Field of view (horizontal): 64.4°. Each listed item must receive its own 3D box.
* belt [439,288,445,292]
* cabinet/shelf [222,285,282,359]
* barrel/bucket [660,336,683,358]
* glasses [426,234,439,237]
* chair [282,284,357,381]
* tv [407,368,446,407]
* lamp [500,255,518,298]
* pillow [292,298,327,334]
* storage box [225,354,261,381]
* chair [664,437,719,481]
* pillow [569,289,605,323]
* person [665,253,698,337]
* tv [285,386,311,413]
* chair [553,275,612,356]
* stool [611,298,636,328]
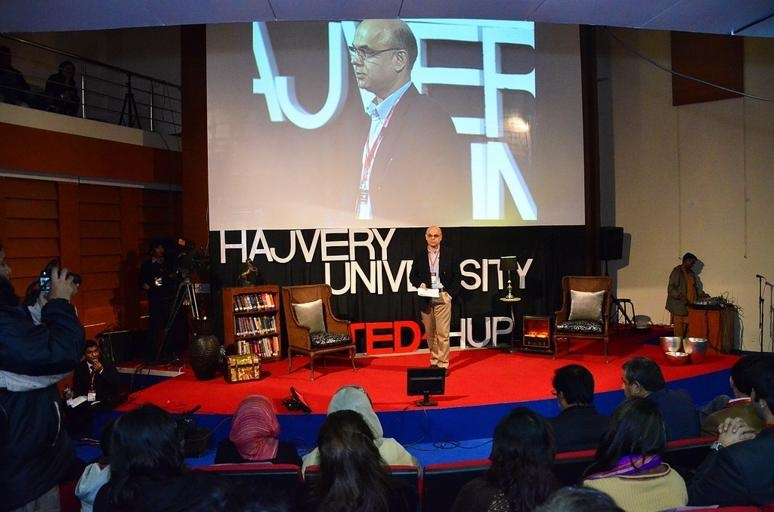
[{"bbox_3d":[0.836,0.512,9.330,0.069,0.052,0.018,-3,-1,6],"label":"belt"},{"bbox_3d":[-2.163,1.046,9.752,1.044,1.671,0.488,-1,-1,-33],"label":"cabinet/shelf"},{"bbox_3d":[4.338,1.356,9.327,0.216,0.224,0.252,0,-4,-6],"label":"barrel/bucket"},{"bbox_3d":[0.697,-0.300,9.300,0.182,0.060,0.060,-3,-1,0],"label":"glasses"},{"bbox_3d":[-1.088,1.147,9.446,0.843,1.398,0.930,-2,-1,-44],"label":"chair"},{"bbox_3d":[0.486,1.636,7.718,0.461,0.471,0.223,-1,6,-3],"label":"tv"},{"bbox_3d":[2.076,0.388,10.441,0.275,0.720,0.797,-3,-1,11],"label":"lamp"},{"bbox_3d":[-1.205,0.952,9.486,0.515,0.543,0.190,-6,1,-36],"label":"pillow"},{"bbox_3d":[-2.098,1.633,8.991,0.491,0.437,0.347,1,-4,-26],"label":"storage box"},{"bbox_3d":[2.717,1.800,5.514,0.334,0.460,0.340,0,-2,9],"label":"chair"},{"bbox_3d":[3.212,0.820,9.865,0.436,0.463,0.174,0,-27,23],"label":"pillow"},{"bbox_3d":[5.320,0.695,11.042,0.552,1.578,0.953,-3,-1,26],"label":"person"},{"bbox_3d":[-1.146,1.868,7.823,0.163,0.410,0.253,-43,-6,-10],"label":"tv"},{"bbox_3d":[3.277,0.915,10.178,0.990,1.819,1.232,-1,-8,22],"label":"chair"},{"bbox_3d":[4.713,1.110,12.227,0.442,0.555,0.401,-3,-1,23],"label":"stool"}]
